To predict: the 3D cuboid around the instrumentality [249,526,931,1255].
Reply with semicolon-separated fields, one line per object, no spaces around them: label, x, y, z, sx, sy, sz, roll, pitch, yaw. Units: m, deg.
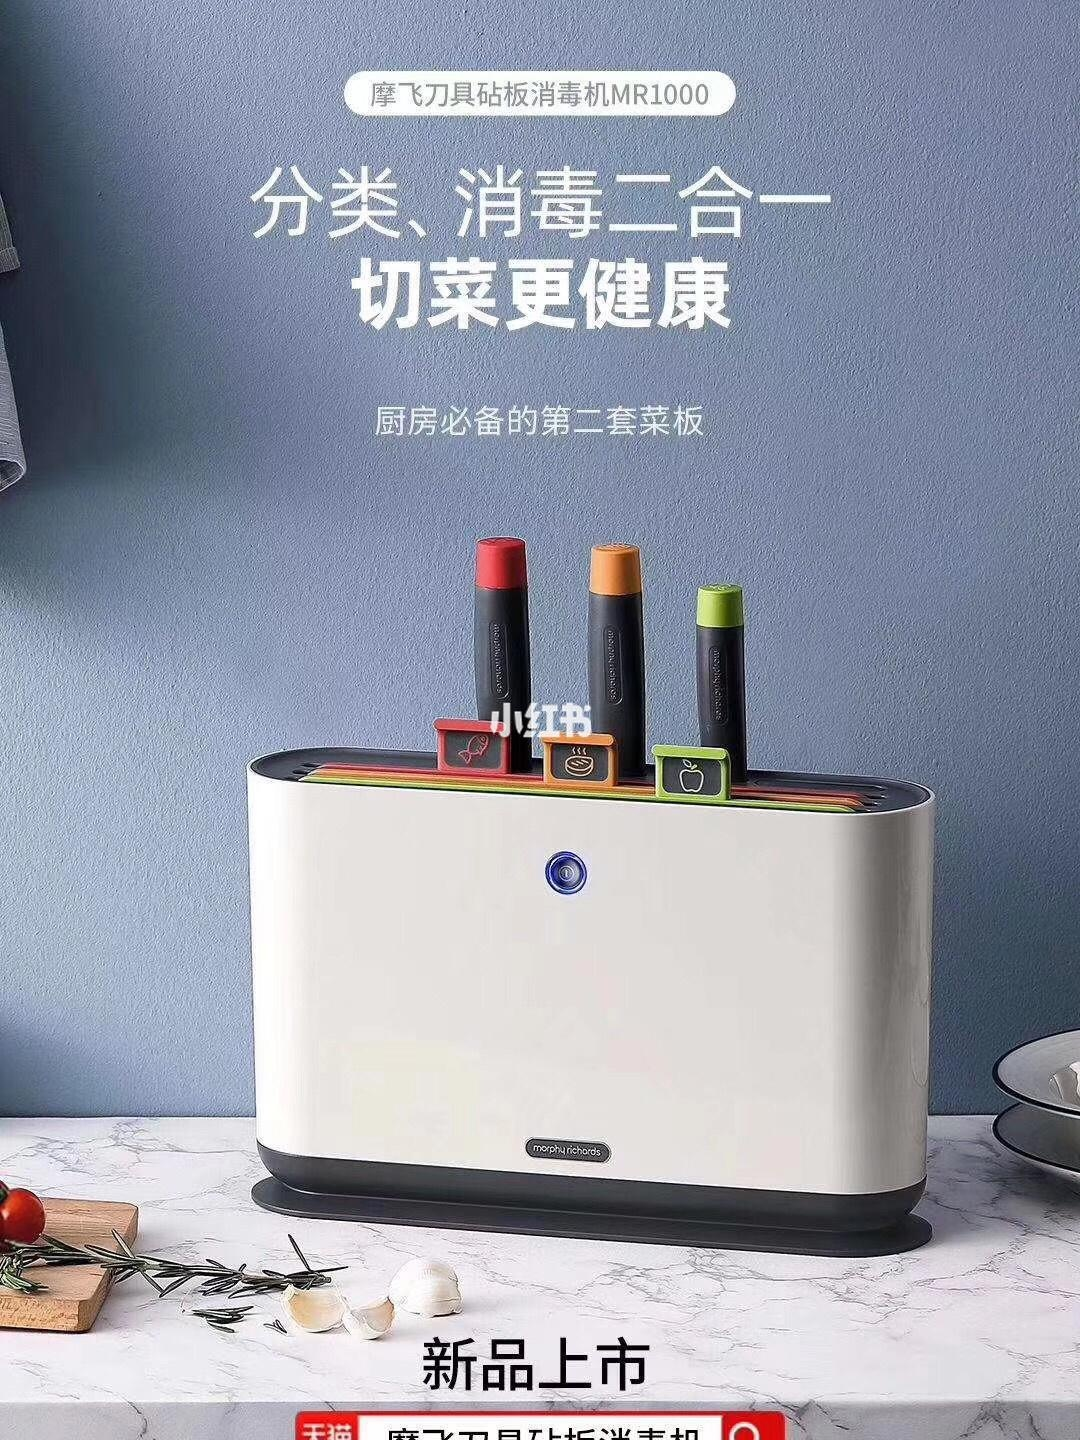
instrumentality;0.042;0.108;0.902;0.464;0.395;0.145;1;7;9
